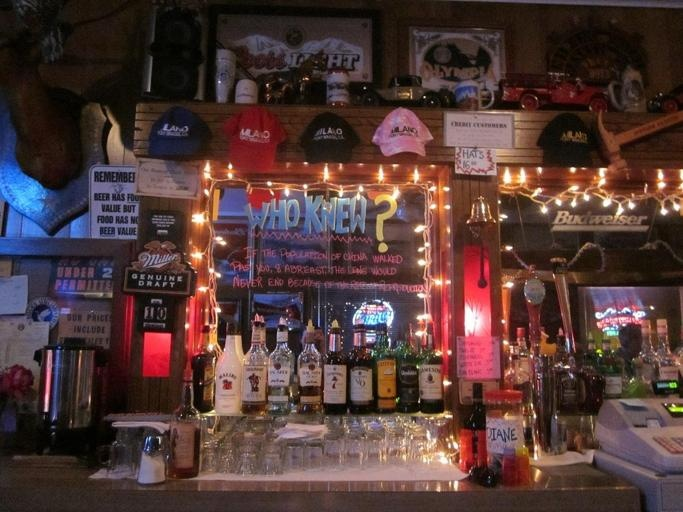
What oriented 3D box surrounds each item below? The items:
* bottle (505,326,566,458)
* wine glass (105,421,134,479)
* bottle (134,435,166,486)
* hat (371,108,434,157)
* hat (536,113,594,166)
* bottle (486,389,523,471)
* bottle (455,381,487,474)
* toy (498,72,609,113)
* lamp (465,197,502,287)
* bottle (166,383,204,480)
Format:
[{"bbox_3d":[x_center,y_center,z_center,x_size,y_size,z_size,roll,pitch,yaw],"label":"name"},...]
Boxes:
[{"bbox_3d":[1.025,0.705,3.356,0.274,0.662,0.236,-3,-11,15],"label":"bottle"},{"bbox_3d":[-1.035,0.898,3.033,0.084,0.158,0.147,8,-6,-22],"label":"wine glass"},{"bbox_3d":[-0.851,0.916,2.924,0.128,0.225,0.099,9,-14,-42],"label":"bottle"},{"bbox_3d":[0.330,-0.682,3.444,0.327,0.446,0.137,4,-54,4],"label":"hat"},{"bbox_3d":[1.256,-0.679,3.570,0.331,0.166,0.499,-5,-6,13],"label":"hat"},{"bbox_3d":[0.766,0.815,2.983,0.173,0.371,0.116,-1,-10,6],"label":"bottle"},{"bbox_3d":[0.625,0.816,3.054,0.130,0.417,0.182,-2,-11,11],"label":"bottle"},{"bbox_3d":[1.272,-0.975,3.824,0.663,0.247,0.384,-1,20,0],"label":"toy"},{"bbox_3d":[0.742,-0.088,3.347,0.153,0.495,0.097,-2,-11,8],"label":"lamp"},{"bbox_3d":[-0.728,0.808,3.001,0.139,0.443,0.083,3,-11,-19],"label":"bottle"}]
